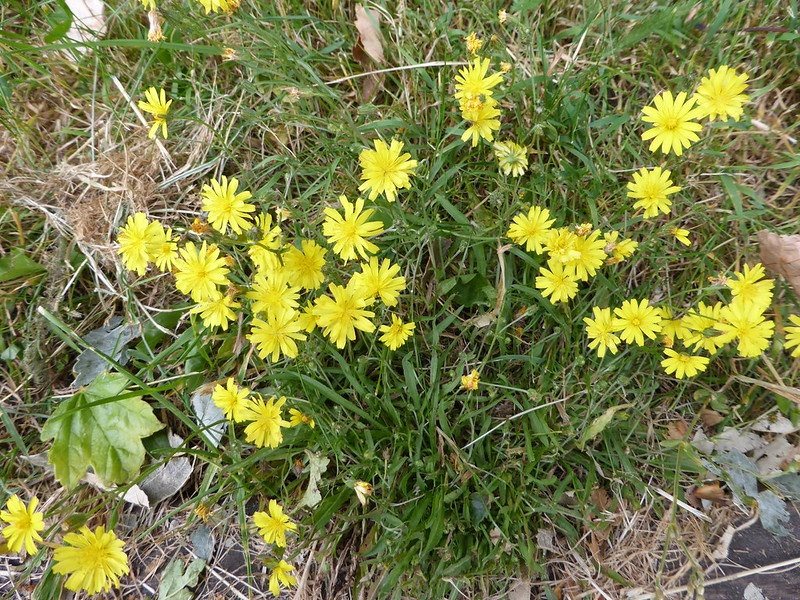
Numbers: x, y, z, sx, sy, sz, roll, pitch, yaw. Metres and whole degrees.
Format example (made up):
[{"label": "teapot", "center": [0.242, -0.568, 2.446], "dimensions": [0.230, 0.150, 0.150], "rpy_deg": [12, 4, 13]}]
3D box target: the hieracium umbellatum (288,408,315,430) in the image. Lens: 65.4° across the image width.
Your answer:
[{"label": "hieracium umbellatum", "center": [-0.335, 0.413, 2.131], "dimensions": [0.069, 0.025, 0.069], "rpy_deg": [41, 53, -4]}]
